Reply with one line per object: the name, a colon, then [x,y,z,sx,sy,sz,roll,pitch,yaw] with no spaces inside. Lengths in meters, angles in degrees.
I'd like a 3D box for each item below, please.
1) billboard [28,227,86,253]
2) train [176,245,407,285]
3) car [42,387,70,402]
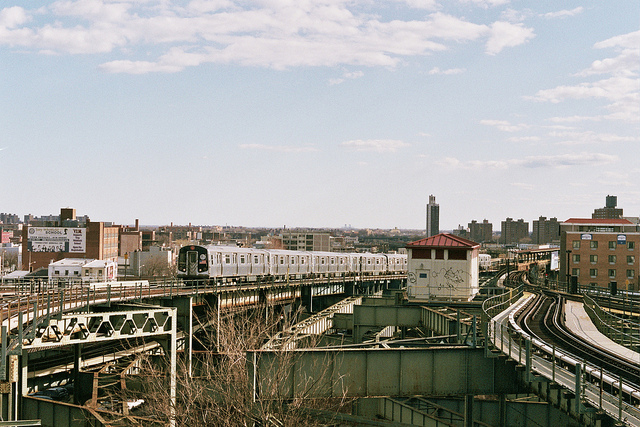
billboard: [-45.847,4.646,172.350,8.287,4.004,4.582,1,-1,0]
train: [-2.882,5.761,106.158,3.705,3.637,47.207,-1,-4,28]
car: [-22.543,15.538,82.966,2.338,1.076,1.371,-2,-3,30]
